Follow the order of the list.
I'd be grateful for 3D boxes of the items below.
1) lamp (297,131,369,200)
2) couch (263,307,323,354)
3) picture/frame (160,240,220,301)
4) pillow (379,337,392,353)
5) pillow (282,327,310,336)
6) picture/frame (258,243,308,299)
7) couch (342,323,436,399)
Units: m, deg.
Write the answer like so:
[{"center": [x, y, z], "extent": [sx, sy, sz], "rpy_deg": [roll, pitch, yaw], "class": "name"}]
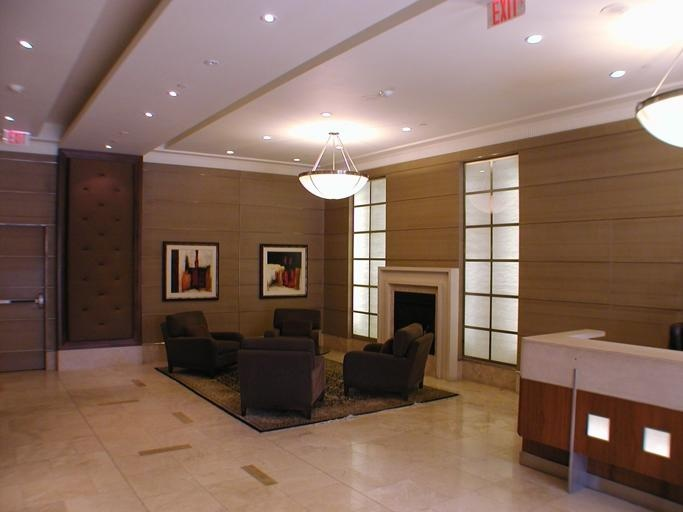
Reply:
[{"center": [-0.154, -1.599, 8.253], "extent": [1.190, 1.250, 1.221], "rpy_deg": [3, 1, 33], "class": "lamp"}, {"center": [-0.968, 1.403, 9.790], "extent": [0.841, 0.826, 0.672], "rpy_deg": [-3, -24, 11], "class": "couch"}, {"center": [-3.083, 0.272, 9.843], "extent": [1.195, 1.389, 0.096], "rpy_deg": [1, 2, -37], "class": "picture/frame"}, {"center": [0.690, 1.342, 7.546], "extent": [0.196, 0.187, 0.198], "rpy_deg": [0, 2, -15], "class": "pillow"}, {"center": [-0.896, 1.425, 9.679], "extent": [0.582, 0.248, 0.420], "rpy_deg": [0, 4, -6], "class": "pillow"}, {"center": [-1.342, 0.307, 10.786], "extent": [1.162, 1.257, 0.127], "rpy_deg": [-1, 1, -32], "class": "picture/frame"}, {"center": [0.759, 1.533, 7.679], "extent": [1.152, 0.979, 1.128], "rpy_deg": [-2, -6, 22], "class": "couch"}]
